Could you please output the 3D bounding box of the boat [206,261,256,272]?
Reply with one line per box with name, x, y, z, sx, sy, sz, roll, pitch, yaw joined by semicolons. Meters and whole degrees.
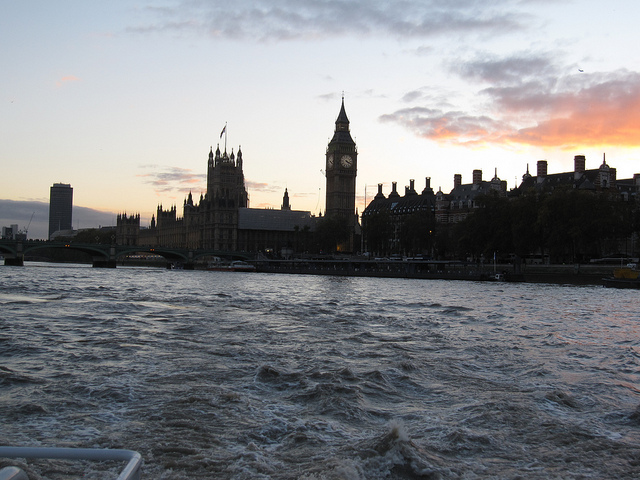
boat;-15.400;4.688;160.366;6.831;1.555;1.755;0;3;10
